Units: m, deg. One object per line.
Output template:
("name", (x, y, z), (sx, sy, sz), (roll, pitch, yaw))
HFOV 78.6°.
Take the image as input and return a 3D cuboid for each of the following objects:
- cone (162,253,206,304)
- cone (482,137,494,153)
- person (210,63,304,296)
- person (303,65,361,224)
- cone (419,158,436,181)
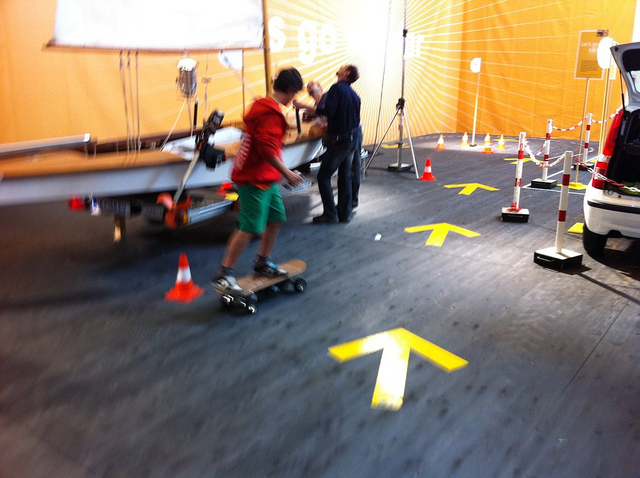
("cone", (-1.013, 0.313, 2.902), (0.242, 0.403, 0.234), (-2, 10, -10))
("cone", (3.800, -2.126, 8.736), (0.305, 0.355, 0.332), (11, 23, 32))
("person", (-0.468, -0.434, 2.962), (0.782, 1.564, 1.142), (-5, 21, -1))
("person", (0.174, -1.104, 4.508), (0.592, 1.663, 0.899), (-3, 21, 4))
("cone", (1.749, -1.149, 6.457), (0.337, 0.402, 0.338), (-1, 26, 2))
